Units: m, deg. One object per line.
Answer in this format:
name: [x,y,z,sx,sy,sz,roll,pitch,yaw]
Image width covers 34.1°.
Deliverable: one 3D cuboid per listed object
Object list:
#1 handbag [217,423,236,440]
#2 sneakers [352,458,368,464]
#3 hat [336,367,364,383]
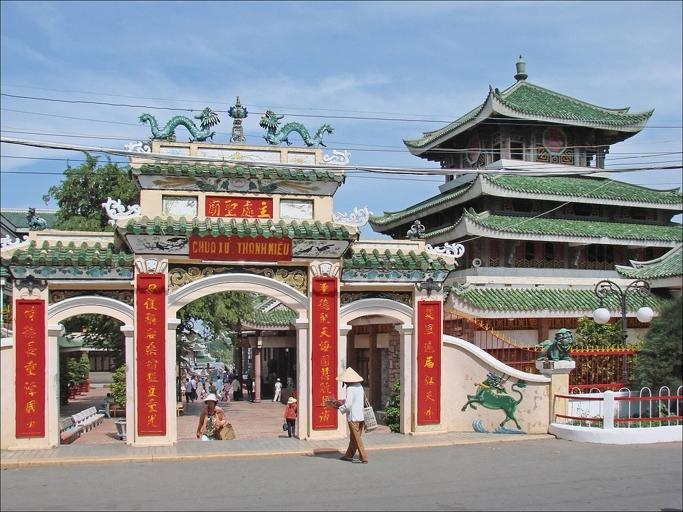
handbag: [-3.151,5.003,31.249,0.409,0.640,0.525,-5,-13,12]
sneakers: [0.508,5.248,28.258,0.414,0.157,0.132,-1,-19,22]
hat: [0.218,3.140,28.713,0.610,0.223,0.581,1,-3,-27]
